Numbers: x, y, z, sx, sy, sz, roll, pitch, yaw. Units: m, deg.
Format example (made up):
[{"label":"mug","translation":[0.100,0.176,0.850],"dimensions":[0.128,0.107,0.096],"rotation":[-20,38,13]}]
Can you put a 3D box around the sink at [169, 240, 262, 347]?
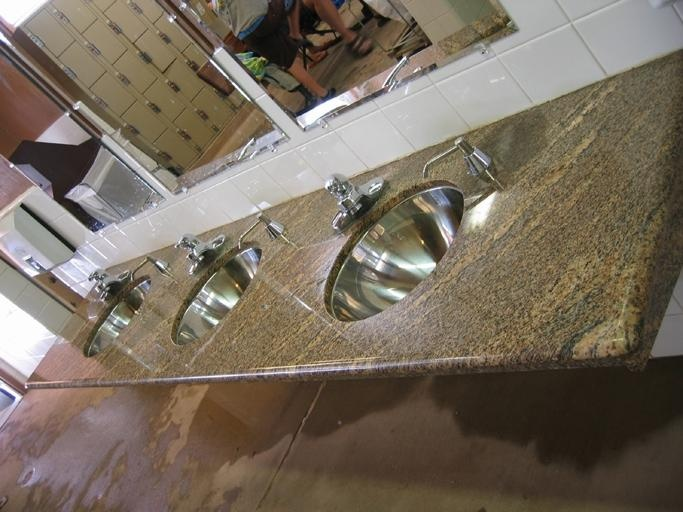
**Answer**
[{"label":"sink","translation":[-0.466,0.208,1.608],"dimensions":[0.362,0.139,0.354],"rotation":[-19,33,42]}]

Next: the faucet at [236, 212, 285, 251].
[{"label":"faucet","translation":[-0.321,-0.093,1.535],"dimensions":[0.131,0.102,0.298],"rotation":[-49,24,-23]}]

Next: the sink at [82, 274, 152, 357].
[{"label":"sink","translation":[-1.093,0.275,1.962],"dimensions":[0.360,0.109,0.359],"rotation":[-29,24,45]}]

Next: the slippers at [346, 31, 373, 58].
[{"label":"slippers","translation":[0.053,-0.590,1.141],"dimensions":[0.075,0.041,0.030],"rotation":[-4,-23,-46]}]

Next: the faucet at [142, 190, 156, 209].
[{"label":"faucet","translation":[-0.916,-0.268,1.936],"dimensions":[0.051,0.078,0.030],"rotation":[19,16,24]}]

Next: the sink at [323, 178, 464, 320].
[{"label":"sink","translation":[0.152,-0.017,1.182],"dimensions":[0.390,0.147,0.365],"rotation":[-32,32,29]}]
